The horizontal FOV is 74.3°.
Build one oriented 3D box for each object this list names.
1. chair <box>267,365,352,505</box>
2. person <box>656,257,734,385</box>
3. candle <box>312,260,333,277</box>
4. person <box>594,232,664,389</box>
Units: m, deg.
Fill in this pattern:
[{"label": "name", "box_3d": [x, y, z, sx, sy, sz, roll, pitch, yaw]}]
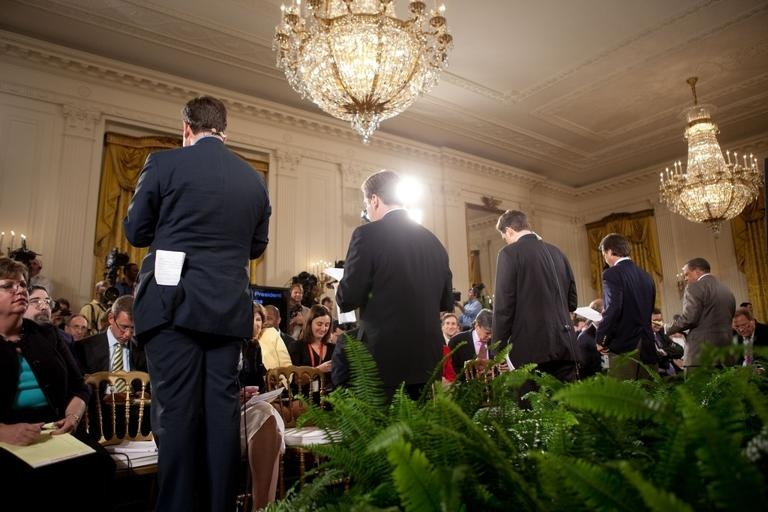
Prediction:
[{"label": "chair", "box_3d": [-0.459, 1.132, 3.182, 0.601, 0.851, 0.630, -6, -12, 5]}, {"label": "person", "box_3d": [3.418, 0.913, 5.451, 0.597, 1.733, 0.550, 1, 0, -4]}, {"label": "candle", "box_3d": [-1.065, 0.216, 8.466, 0.198, 0.274, 0.197, 10, -22, -28]}, {"label": "person", "box_3d": [2.169, 0.713, 4.641, 0.600, 1.794, 0.533, -4, 7, -15]}]
